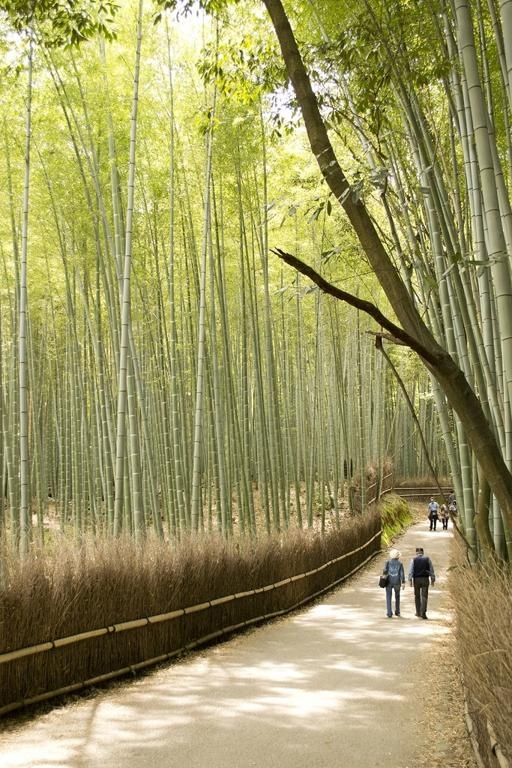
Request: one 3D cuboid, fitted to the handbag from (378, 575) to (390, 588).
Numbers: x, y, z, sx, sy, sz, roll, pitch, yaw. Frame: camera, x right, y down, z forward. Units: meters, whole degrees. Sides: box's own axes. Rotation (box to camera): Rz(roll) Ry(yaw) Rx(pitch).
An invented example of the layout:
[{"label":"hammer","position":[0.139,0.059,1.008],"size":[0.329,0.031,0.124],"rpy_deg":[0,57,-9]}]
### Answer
[{"label":"handbag","position":[0.999,1.565,5.959],"size":[0.072,0.103,0.140],"rpy_deg":[3,-4,-23]}]
